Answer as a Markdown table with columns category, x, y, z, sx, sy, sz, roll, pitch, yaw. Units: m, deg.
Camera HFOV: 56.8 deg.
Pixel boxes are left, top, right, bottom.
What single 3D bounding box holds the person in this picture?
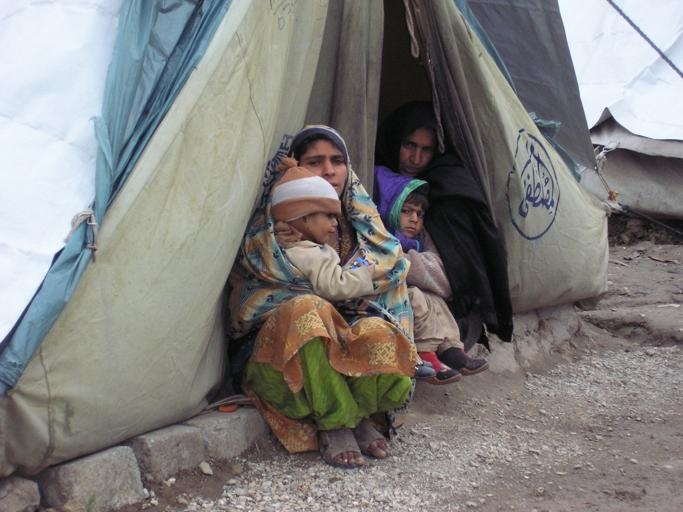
| category | x | y | z | sx | sy | sz | roll | pitch | yaw |
| --- | --- | --- | --- | --- | --- | --- | --- | --- | --- |
| person | 0.187 | 0.048 | 3.070 | 0.845 | 1.479 | 1.359 | 15 | 16 | 42 |

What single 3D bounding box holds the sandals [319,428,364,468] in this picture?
| category | x | y | z | sx | sy | sz | roll | pitch | yaw |
| --- | --- | --- | --- | --- | --- | --- | --- | --- | --- |
| sandals | 0.008 | 0.812 | 2.712 | 0.140 | 0.212 | 0.451 | 9 | -19 | -6 |

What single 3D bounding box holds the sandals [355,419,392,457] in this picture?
| category | x | y | z | sx | sy | sz | roll | pitch | yaw |
| --- | --- | --- | --- | --- | --- | --- | --- | --- | --- |
| sandals | 0.134 | 0.807 | 2.816 | 0.078 | 0.134 | 0.259 | 17 | 6 | -26 |

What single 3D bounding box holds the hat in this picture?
| category | x | y | z | sx | sy | sz | roll | pitch | yaw |
| --- | --- | --- | --- | --- | --- | --- | --- | --- | --- |
| hat | -0.174 | -0.288 | 2.914 | 0.322 | 0.257 | 0.246 | 0 | 4 | 8 |

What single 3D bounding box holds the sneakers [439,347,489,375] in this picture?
| category | x | y | z | sx | sy | sz | roll | pitch | yaw |
| --- | --- | --- | --- | --- | --- | --- | --- | --- | --- |
| sneakers | 0.617 | 0.540 | 3.294 | 0.283 | 0.149 | 0.101 | 7 | 23 | 37 |

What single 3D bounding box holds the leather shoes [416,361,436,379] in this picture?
| category | x | y | z | sx | sy | sz | roll | pitch | yaw |
| --- | --- | --- | --- | --- | --- | --- | --- | --- | --- |
| leather shoes | 0.398 | 0.548 | 3.025 | 0.132 | 0.066 | 0.052 | -2 | -5 | -13 |

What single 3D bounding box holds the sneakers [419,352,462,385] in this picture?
| category | x | y | z | sx | sy | sz | roll | pitch | yaw |
| --- | --- | --- | --- | --- | --- | --- | --- | --- | --- |
| sneakers | 0.489 | 0.554 | 3.167 | 0.092 | 0.135 | 0.288 | -13 | 5 | -27 |
